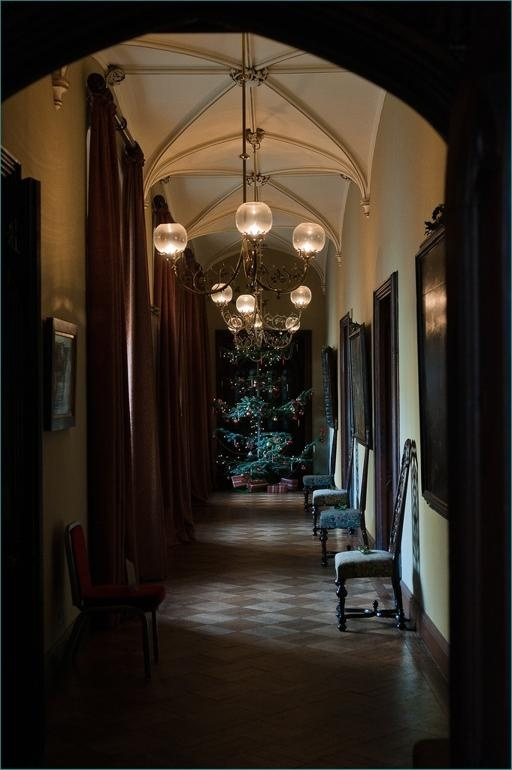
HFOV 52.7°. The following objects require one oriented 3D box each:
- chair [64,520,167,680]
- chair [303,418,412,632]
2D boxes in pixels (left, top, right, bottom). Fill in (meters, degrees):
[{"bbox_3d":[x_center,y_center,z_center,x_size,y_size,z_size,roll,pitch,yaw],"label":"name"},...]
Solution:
[{"bbox_3d":[-0.922,1.363,3.556,0.624,1.401,0.708,-1,-4,4],"label":"chair"},{"bbox_3d":[0.996,1.213,4.480,0.632,1.454,1.451,-1,-6,9],"label":"chair"}]
